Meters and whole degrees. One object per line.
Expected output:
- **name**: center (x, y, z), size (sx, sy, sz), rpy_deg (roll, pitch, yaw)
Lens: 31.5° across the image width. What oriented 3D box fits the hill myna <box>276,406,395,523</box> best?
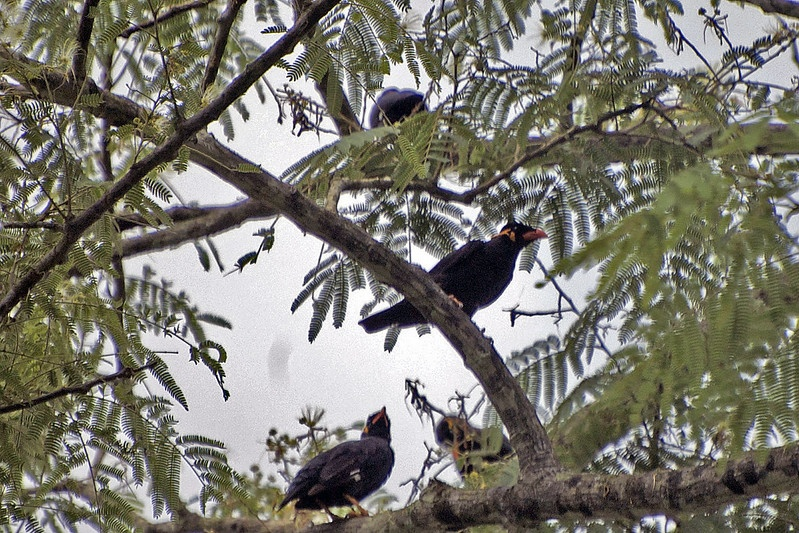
- **hill myna**: center (-0.284, 1.208, 8.983), size (0.603, 0.600, 0.345), rpy_deg (-3, -4, 13)
